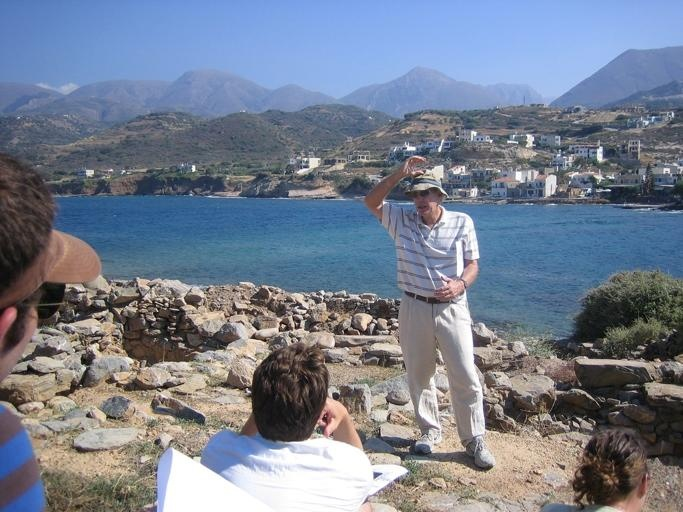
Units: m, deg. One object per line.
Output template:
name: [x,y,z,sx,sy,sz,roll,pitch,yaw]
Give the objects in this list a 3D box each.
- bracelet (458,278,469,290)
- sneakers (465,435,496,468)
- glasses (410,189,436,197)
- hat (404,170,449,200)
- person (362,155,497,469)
bracelet: [1.081,0.240,4.963,0.069,0.096,0.089,-29,-13,-26]
sneakers: [1.237,1.751,5.014,0.277,0.271,0.161,3,7,27]
glasses: [0.747,-0.577,5.039,0.116,0.028,0.126,-3,-4,43]
hat: [0.778,-0.670,5.145,0.360,0.243,0.360,1,6,6]
person: [0.852,0.558,5.099,1.066,2.629,0.550,1,7,5]
